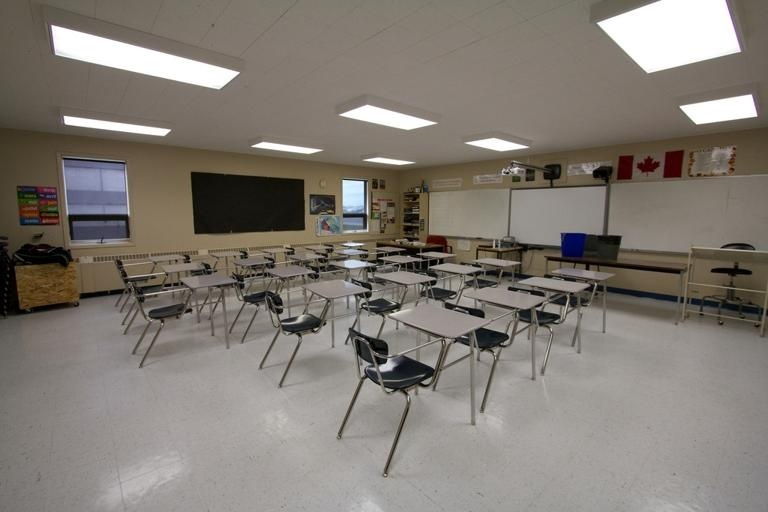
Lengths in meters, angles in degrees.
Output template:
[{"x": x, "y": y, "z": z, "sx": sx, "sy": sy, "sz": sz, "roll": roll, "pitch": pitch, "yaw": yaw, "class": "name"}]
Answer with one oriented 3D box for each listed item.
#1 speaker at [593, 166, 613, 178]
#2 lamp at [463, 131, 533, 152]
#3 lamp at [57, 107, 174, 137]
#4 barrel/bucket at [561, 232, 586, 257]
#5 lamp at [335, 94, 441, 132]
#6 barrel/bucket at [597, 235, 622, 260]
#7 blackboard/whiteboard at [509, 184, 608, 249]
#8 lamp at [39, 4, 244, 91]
[{"x": 4.201, "y": -1.583, "z": 8.507, "sx": 0.281, "sy": 0.267, "sz": 0.281, "roll": -4, "pitch": 9, "yaw": -36, "class": "speaker"}, {"x": 2.059, "y": -2.080, "z": 7.957, "sx": 1.173, "sy": 0.150, "sz": 0.663, "roll": -7, "pitch": 6, "yaw": -43, "class": "lamp"}, {"x": -4.174, "y": -2.042, "z": 6.838, "sx": 1.388, "sy": 0.138, "sz": 0.637, "roll": -6, "pitch": 6, "yaw": -35, "class": "lamp"}, {"x": 3.599, "y": -0.206, "z": 8.383, "sx": 0.418, "sy": 0.342, "sz": 0.467, "roll": 2, "pitch": -3, "yaw": -6, "class": "barrel/bucket"}, {"x": 0.026, "y": -2.080, "z": 6.382, "sx": 1.246, "sy": 0.249, "sz": 0.685, "roll": -5, "pitch": 6, "yaw": -34, "class": "lamp"}, {"x": 4.137, "y": -0.154, "z": 8.089, "sx": 0.336, "sy": 0.566, "sz": 0.451, "roll": 2, "pitch": 2, "yaw": -37, "class": "barrel/bucket"}, {"x": 3.706, "y": -0.820, "z": 9.152, "sx": 1.494, "sy": 0.987, "sz": 0.118, "roll": 10, "pitch": 15, "yaw": 44, "class": "blackboard/whiteboard"}, {"x": -2.653, "y": -2.290, "z": 4.860, "sx": 1.752, "sy": 0.490, "sz": 0.757, "roll": -5, "pitch": 6, "yaw": -30, "class": "lamp"}]
